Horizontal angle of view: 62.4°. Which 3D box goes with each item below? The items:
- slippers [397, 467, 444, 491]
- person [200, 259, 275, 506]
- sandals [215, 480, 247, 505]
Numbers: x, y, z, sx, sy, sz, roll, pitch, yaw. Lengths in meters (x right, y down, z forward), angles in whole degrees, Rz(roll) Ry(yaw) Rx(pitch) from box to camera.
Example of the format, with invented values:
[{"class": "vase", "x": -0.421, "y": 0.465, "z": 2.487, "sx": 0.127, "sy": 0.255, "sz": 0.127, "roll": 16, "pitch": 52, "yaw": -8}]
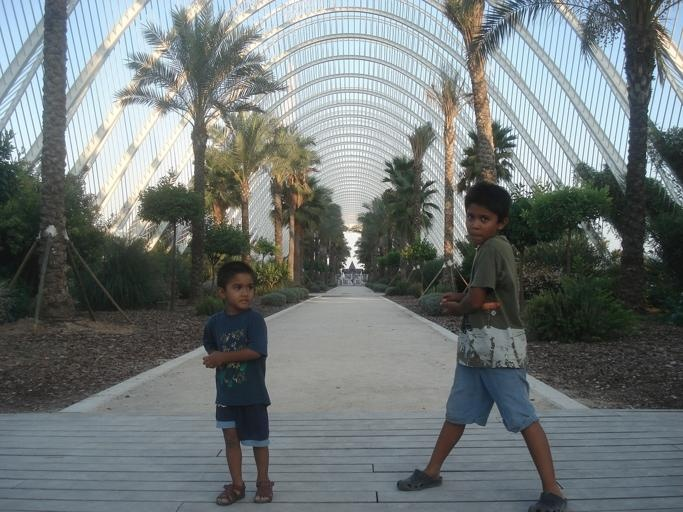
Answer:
[{"class": "slippers", "x": 0.658, "y": 1.871, "z": 4.778, "sx": 0.364, "sy": 0.176, "sz": 0.152, "roll": 1, "pitch": -7, "yaw": -5}, {"class": "person", "x": -0.859, "y": 1.007, "z": 4.668, "sx": 0.566, "sy": 1.517, "sz": 0.412, "roll": -1, "pitch": 0, "yaw": -15}, {"class": "sandals", "x": -0.902, "y": 1.910, "z": 4.580, "sx": 0.111, "sy": 0.114, "sz": 0.239, "roll": -2, "pitch": -10, "yaw": 36}]
